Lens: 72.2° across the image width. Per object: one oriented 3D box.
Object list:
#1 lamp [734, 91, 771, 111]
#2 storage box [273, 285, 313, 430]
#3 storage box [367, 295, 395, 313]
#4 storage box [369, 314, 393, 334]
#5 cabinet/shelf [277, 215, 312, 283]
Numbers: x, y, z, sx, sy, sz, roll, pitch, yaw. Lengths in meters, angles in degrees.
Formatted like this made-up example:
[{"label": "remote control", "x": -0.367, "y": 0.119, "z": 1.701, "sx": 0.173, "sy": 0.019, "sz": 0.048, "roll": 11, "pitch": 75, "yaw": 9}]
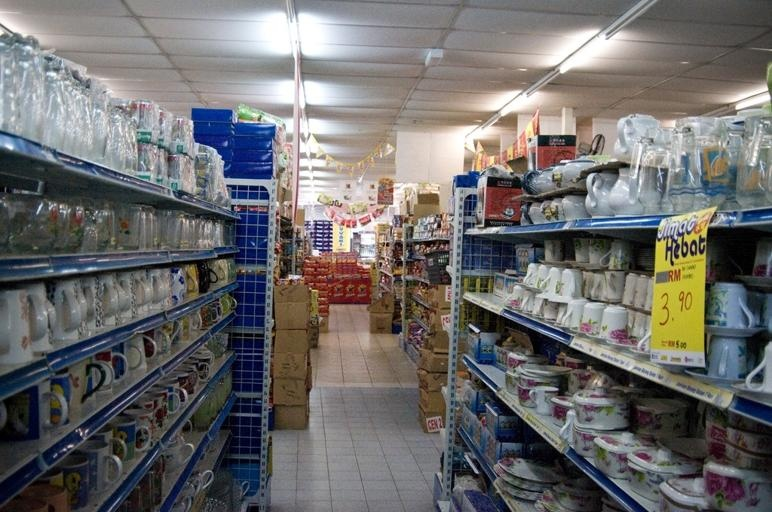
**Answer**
[{"label": "lamp", "x": 5.613, "y": -2.343, "z": 8.098, "sx": 0.268, "sy": 0.173, "sz": 0.786, "roll": 2, "pitch": 3, "yaw": 0}, {"label": "storage box", "x": -0.994, "y": 1.063, "z": 5.582, "sx": 0.396, "sy": 1.535, "sz": 0.232, "roll": 2, "pitch": 2, "yaw": -10}, {"label": "storage box", "x": -0.075, "y": 1.020, "z": 11.252, "sx": 0.384, "sy": 0.357, "sz": 0.542, "roll": 3, "pitch": -3, "yaw": -1}, {"label": "storage box", "x": -0.112, "y": 1.404, "z": 11.063, "sx": 0.425, "sy": 0.424, "sz": 0.424, "roll": 0, "pitch": 1, "yaw": 1}, {"label": "cabinet/shelf", "x": -1.683, "y": -0.108, "z": 9.786, "sx": 0.534, "sy": 0.572, "sz": 1.715, "roll": -3, "pitch": 26, "yaw": -9}]
